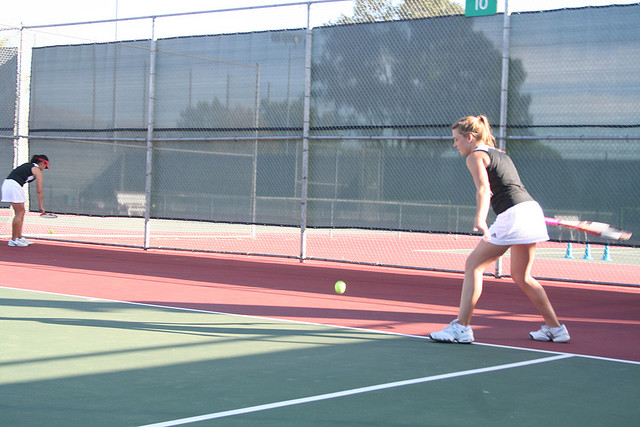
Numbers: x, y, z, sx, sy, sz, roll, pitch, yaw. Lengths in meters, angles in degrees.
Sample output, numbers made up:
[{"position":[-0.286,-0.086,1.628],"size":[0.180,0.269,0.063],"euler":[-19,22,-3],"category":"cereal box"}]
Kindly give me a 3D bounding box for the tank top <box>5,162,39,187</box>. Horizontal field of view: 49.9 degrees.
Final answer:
[{"position":[-6.197,-0.823,14.368],"size":[0.612,0.481,0.372],"euler":[0,4,-22],"category":"tank top"}]

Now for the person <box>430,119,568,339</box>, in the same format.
[{"position":[1.972,0.190,7.376],"size":[1.190,2.368,0.870],"euler":[4,5,28],"category":"person"}]

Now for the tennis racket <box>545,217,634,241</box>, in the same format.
[{"position":[3.990,0.221,10.121],"size":[0.817,0.040,0.239],"euler":[15,25,1],"category":"tennis racket"}]

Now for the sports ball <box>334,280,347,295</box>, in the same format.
[{"position":[0.341,1.114,10.301],"size":[0.175,0.203,0.173],"euler":[0,-3,0],"category":"sports ball"}]

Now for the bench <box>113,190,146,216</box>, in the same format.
[{"position":[-4.198,-0.260,15.232],"size":[0.634,0.470,0.604],"euler":[1,3,-14],"category":"bench"}]

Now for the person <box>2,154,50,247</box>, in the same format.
[{"position":[-6.204,-0.243,14.489],"size":[0.854,1.999,0.875],"euler":[1,4,-13],"category":"person"}]

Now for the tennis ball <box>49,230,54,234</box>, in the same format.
[{"position":[-7.676,0.525,19.663],"size":[0.085,0.062,0.105],"euler":[-2,1,2],"category":"tennis ball"}]
